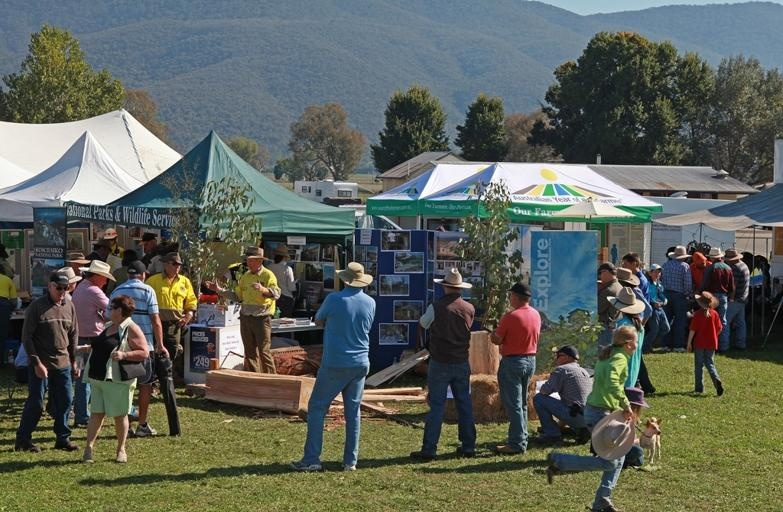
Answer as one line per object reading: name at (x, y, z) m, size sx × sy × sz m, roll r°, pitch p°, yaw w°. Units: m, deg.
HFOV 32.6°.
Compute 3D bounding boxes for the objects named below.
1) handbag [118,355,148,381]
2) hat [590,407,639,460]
handbag at (-6.898, 2.930, 35.432) m, size 0.622 × 0.614 × 0.224 m, roll -1°, pitch -6°, yaw -38°
hat at (5.599, 4.552, 34.181) m, size 1.073 × 1.272 × 0.319 m, roll 0°, pitch 1°, yaw 9°
